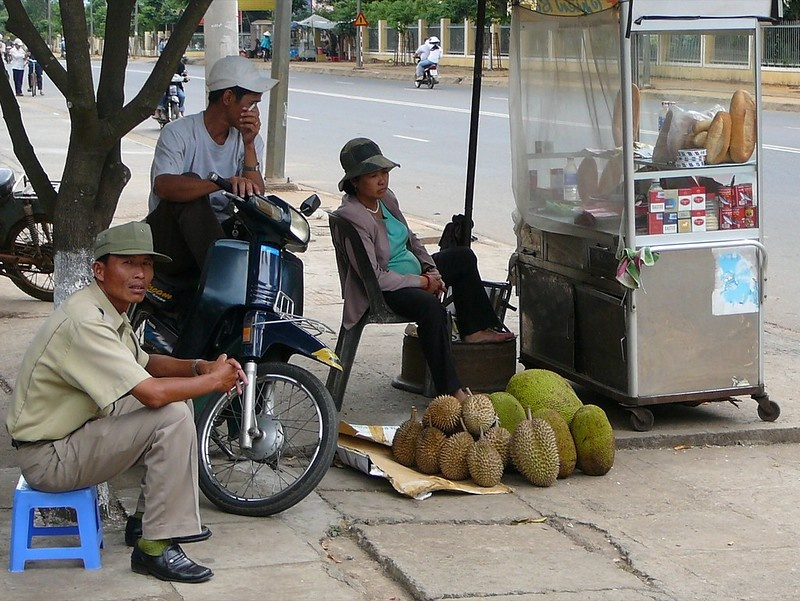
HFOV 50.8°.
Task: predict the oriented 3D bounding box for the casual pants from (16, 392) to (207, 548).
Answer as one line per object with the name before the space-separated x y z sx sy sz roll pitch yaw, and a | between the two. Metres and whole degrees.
casual pants | -1.142 0.687 3.492 0.651 0.505 0.491 4 0 -5

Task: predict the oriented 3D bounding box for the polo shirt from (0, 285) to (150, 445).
polo shirt | -1.236 0.247 3.434 0.542 0.579 0.667 4 11 -6

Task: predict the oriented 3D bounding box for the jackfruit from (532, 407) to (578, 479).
jackfruit | 0.841 0.724 4.421 0.200 0.373 0.179 -15 -2 42

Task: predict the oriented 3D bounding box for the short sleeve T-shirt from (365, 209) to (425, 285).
short sleeve T-shirt | -0.014 -0.342 5.456 0.326 0.586 0.597 -3 5 -11

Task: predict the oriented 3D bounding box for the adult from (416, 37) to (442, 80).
adult | 1.058 -8.987 30.963 1.041 1.164 1.756 1 21 -2

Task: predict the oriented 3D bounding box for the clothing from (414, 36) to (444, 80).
clothing | 1.069 -8.988 31.010 1.110 1.229 1.860 1 19 -4

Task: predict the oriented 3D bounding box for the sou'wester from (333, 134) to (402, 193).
sou'wester | -0.212 -0.817 5.089 0.301 0.327 0.361 -1 14 -11

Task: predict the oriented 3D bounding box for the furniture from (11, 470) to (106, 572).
furniture | -1.338 0.868 3.438 0.364 0.320 0.373 1 0 -3

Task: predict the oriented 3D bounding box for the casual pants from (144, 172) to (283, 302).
casual pants | -1.082 -0.286 4.355 0.451 0.526 0.781 27 -19 -37

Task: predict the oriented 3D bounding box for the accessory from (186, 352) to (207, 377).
accessory | -0.878 0.282 3.672 0.059 0.078 0.037 3 15 12

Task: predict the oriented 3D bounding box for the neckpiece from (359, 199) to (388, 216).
neckpiece | -0.141 -0.582 5.201 0.089 0.075 0.124 -5 -5 -38

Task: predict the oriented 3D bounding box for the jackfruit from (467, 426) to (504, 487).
jackfruit | 0.435 0.803 4.253 0.178 0.246 0.172 4 14 12

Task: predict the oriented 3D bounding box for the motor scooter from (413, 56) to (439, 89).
motor scooter | 1.063 -8.358 31.233 0.587 0.732 1.158 -1 13 -13

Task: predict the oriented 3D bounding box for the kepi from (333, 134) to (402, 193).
kepi | -0.211 -0.817 5.090 0.302 0.327 0.361 -1 14 -10

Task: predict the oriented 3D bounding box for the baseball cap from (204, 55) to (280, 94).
baseball cap | -0.858 -1.234 4.601 0.342 0.173 0.229 -7 17 0

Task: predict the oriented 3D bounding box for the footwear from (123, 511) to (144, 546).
footwear | -1.093 0.970 3.562 0.080 0.102 0.157 3 6 -1

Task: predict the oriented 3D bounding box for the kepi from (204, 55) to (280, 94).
kepi | -0.858 -1.237 4.602 0.342 0.173 0.229 -7 17 0

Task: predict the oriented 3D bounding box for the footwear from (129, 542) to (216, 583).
footwear | -0.883 1.021 3.335 0.326 0.139 0.132 6 6 11

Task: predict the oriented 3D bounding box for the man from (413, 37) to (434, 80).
man | 0.913 -9.080 31.288 1.002 1.229 1.880 -1 20 0

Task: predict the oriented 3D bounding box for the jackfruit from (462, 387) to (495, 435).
jackfruit | 0.405 0.572 4.415 0.149 0.172 0.195 -16 29 -27

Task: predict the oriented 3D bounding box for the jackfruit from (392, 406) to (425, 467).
jackfruit | 0.048 0.729 4.469 0.151 0.310 0.150 2 -14 -4

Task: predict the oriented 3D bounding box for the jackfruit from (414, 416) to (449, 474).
jackfruit | 0.156 0.746 4.330 0.130 0.250 0.127 -3 -16 -23

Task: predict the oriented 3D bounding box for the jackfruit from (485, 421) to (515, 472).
jackfruit | 0.518 0.750 4.302 0.120 0.212 0.115 -6 -23 -20

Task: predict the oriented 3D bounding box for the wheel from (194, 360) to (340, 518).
wheel | -0.638 0.675 3.944 0.649 0.680 0.215 -8 -4 29

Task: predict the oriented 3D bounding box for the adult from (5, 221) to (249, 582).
adult | -0.892 0.235 4.002 1.291 1.761 1.029 0 11 -8

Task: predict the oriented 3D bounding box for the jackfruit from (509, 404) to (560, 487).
jackfruit | 0.695 0.752 4.316 0.207 0.349 0.183 -17 -16 5

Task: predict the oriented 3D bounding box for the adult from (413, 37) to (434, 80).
adult | 0.908 -9.047 31.302 1.002 1.229 1.880 -1 20 0

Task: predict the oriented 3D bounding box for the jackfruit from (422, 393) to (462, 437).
jackfruit | 0.235 0.600 4.433 0.200 0.206 0.174 10 0 -35

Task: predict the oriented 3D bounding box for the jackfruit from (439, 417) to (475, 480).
jackfruit | 0.288 0.769 4.306 0.130 0.270 0.122 5 -25 -3
